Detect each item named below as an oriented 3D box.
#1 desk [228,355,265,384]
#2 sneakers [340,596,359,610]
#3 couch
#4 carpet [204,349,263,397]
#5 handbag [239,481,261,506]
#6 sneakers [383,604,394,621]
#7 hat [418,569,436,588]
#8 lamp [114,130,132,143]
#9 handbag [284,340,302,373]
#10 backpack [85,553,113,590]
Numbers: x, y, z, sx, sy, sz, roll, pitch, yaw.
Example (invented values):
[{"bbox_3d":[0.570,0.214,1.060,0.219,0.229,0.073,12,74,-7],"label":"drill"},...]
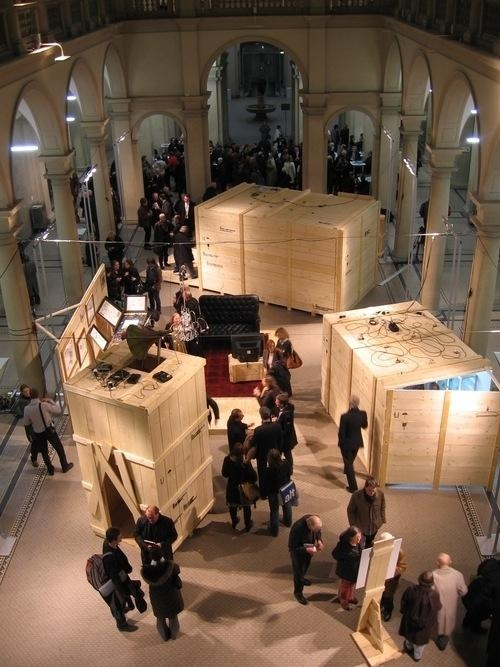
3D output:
[{"bbox_3d":[-0.057,0.672,8.108,0.505,0.329,0.529,-5,23,-10],"label":"desk"},{"bbox_3d":[0.900,2.423,4.071,0.103,0.054,0.145,2,7,-1],"label":"sneakers"},{"bbox_3d":[-0.393,-0.251,9.139,1.267,0.979,0.720,-1,11,-1],"label":"couch"},{"bbox_3d":[-0.412,0.751,8.322,0.748,0.482,0.776,1,27,-1],"label":"carpet"},{"bbox_3d":[0.002,1.665,4.684,0.134,0.289,0.223,7,14,42],"label":"handbag"},{"bbox_3d":[1.212,2.440,3.939,0.058,0.069,0.177,-7,25,24],"label":"sneakers"},{"bbox_3d":[1.234,1.705,3.156,0.110,0.047,0.131,-4,36,-1],"label":"hat"},{"bbox_3d":[-4.048,-6.293,14.447,0.359,0.214,0.546,1,34,41],"label":"lamp"},{"bbox_3d":[0.723,0.395,7.550,0.240,0.503,0.445,-24,16,6],"label":"handbag"},{"bbox_3d":[-1.169,1.834,3.469,0.227,0.366,0.074,5,13,34],"label":"backpack"}]
